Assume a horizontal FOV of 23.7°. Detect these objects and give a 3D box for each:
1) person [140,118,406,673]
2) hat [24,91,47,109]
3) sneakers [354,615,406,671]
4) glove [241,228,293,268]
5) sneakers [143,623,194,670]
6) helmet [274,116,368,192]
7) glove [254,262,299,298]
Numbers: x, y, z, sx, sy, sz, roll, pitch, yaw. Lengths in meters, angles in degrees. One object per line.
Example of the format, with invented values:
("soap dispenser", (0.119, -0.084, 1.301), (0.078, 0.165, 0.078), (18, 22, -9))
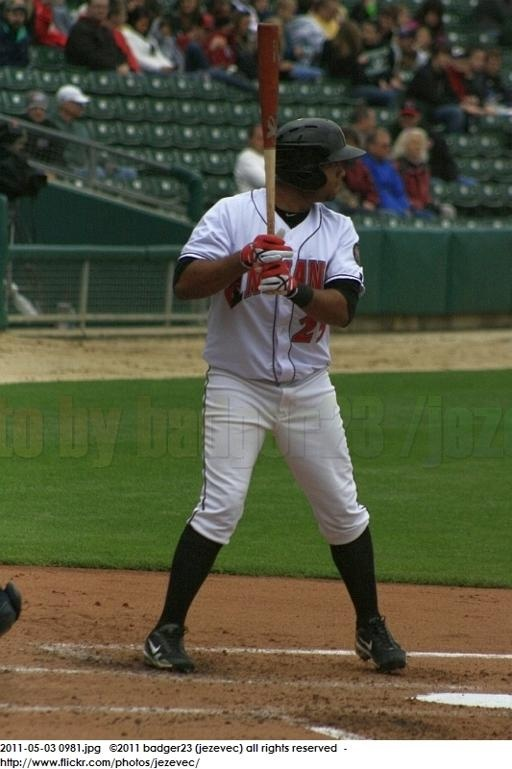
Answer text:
("person", (0.057, 0.046, 3.348), (0.747, 1.535, 0.440), (-1, 9, -10))
("hat", (-1.459, -1.874, 8.085), (0.131, 0.103, 0.148), (-2, -8, -1))
("sneakers", (0.347, 0.733, 3.467), (0.081, 0.111, 0.227), (-17, 1, -19))
("glove", (0.025, -0.341, 3.098), (0.115, 0.053, 0.080), (-6, 50, 1))
("sneakers", (-0.237, 0.713, 3.286), (0.071, 0.086, 0.193), (4, -4, -33))
("helmet", (0.177, -0.637, 3.357), (0.243, 0.167, 0.176), (0, 14, 0))
("glove", (0.054, -0.263, 3.109), (0.088, 0.089, 0.078), (4, 9, 22))
